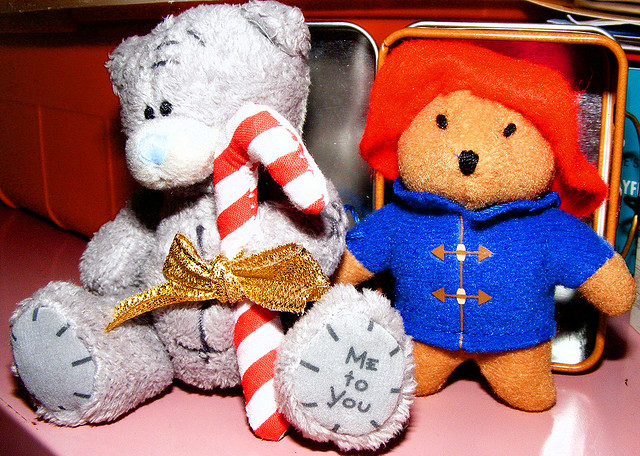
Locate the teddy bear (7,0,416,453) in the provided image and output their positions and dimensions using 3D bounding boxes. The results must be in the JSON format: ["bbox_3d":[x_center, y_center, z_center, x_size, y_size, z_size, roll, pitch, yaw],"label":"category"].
[{"bbox_3d":[-0.134,-0.006,1.122,0.640,0.549,0.491,9,39,8],"label":"teddy bear"}]

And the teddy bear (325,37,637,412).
[{"bbox_3d":[0.310,0.024,1.255,0.494,0.746,0.354,7,19,22],"label":"teddy bear"}]

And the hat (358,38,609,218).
[{"bbox_3d":[0.285,-0.227,1.195,0.452,0.296,0.320,4,22,16],"label":"hat"}]

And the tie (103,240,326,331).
[{"bbox_3d":[-0.168,0.081,1.119,0.366,0.117,0.141,-5,30,-2],"label":"tie"}]
